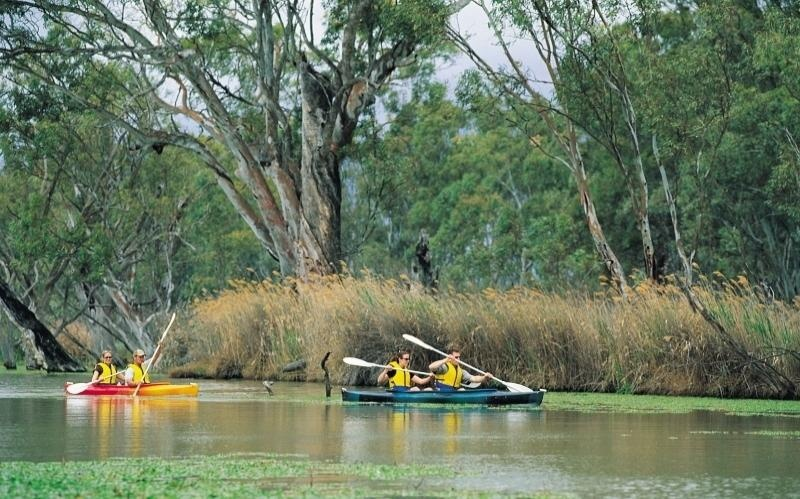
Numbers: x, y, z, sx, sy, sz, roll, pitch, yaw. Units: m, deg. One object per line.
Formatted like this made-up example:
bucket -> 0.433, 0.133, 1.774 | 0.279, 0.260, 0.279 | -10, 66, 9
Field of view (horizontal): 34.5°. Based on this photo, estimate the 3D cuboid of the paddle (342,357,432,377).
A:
paddle -> -0.372, 3.862, 43.026 | 2.873, 0.383, 0.215 | 13, -24, -24

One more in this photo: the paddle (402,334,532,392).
paddle -> 2.371, 3.701, 42.173 | 2.944, 0.325, 0.167 | 32, -28, 4

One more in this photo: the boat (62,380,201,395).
boat -> -8.918, 4.772, 42.905 | 2.717, 0.559, 2.053 | 0, 10, -10
